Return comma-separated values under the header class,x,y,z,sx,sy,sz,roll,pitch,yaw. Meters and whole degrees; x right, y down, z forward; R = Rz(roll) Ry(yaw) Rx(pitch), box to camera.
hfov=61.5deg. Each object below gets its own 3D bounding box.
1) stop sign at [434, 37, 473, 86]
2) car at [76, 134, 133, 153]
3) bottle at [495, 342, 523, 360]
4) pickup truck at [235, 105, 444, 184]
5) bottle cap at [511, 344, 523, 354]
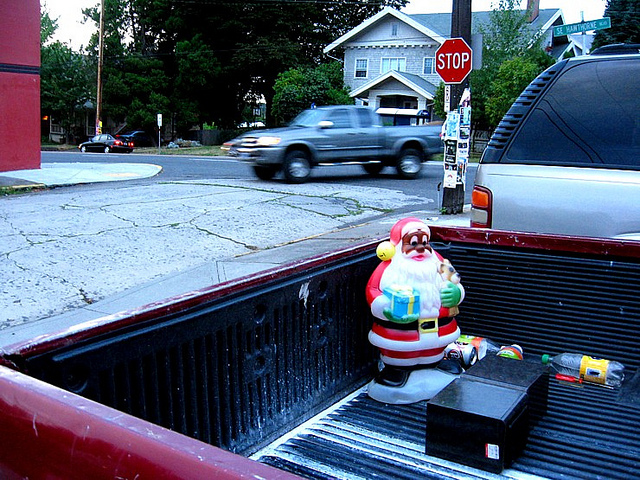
class,x,y,z,sx,sy,sz,roll,pitch,yaw
stop sign,2.500,-3.366,10.040,0.682,0.882,0.401,-3,8,20
car,-14.842,-6.800,37.565,3.408,1.416,1.303,-4,8,9
bottle,1.050,0.602,2.986,0.087,0.104,0.116,6,-13,41
pickup truck,0.720,-2.930,16.094,6.256,2.057,2.309,-7,13,-29
bottle cap,1.118,0.609,3.042,0.050,0.042,0.051,1,4,35
